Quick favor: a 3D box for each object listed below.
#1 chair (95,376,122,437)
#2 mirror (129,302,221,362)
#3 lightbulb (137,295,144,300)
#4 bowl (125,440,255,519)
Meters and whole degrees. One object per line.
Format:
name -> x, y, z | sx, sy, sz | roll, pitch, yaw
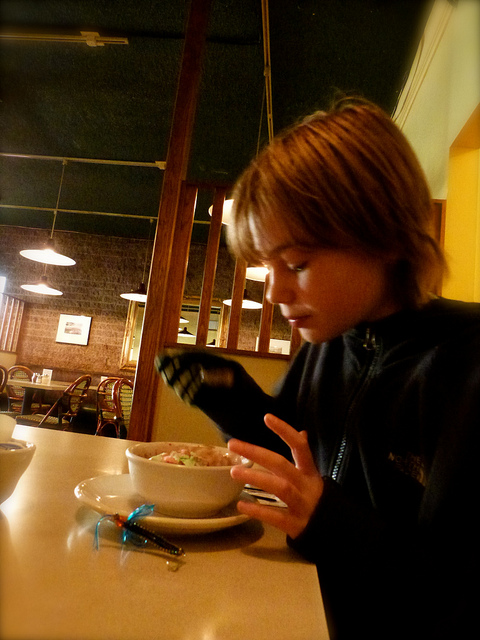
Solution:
chair -> -1.419, 0.897, 5.198 | 0.389, 0.588, 0.360 | -5, 16, -17
mirror -> -1.040, 0.220, 7.692 | 1.356, 0.961, 1.133 | 3, -3, -10
lightbulb -> -1.172, -0.267, 5.689 | 0.068, 0.048, 0.087 | 3, -3, 2
bowl -> -0.077, 0.205, 0.625 | 0.125, 0.069, 0.139 | 7, 0, 10
